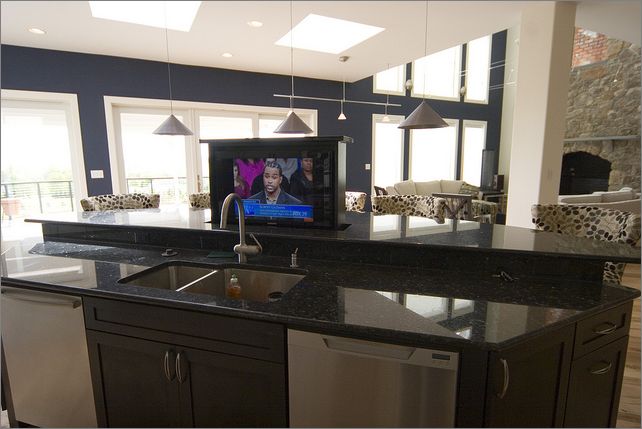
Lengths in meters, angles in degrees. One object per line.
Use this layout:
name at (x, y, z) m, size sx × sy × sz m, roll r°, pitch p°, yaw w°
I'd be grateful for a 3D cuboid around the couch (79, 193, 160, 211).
couch at (-2.402, -0.151, 5.530) m, size 0.842 × 0.168 × 0.306 m, roll -4°, pitch 6°, yaw -28°

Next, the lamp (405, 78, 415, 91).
lamp at (1.642, -2.480, 8.768) m, size 0.156 × 0.207 × 0.209 m, roll -2°, pitch 5°, yaw -9°

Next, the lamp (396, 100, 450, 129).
lamp at (1.087, -1.076, 4.974) m, size 0.462 × 0.267 × 0.528 m, roll -2°, pitch 6°, yaw -11°

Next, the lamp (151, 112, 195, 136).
lamp at (-1.692, -0.977, 5.401) m, size 0.453 × 0.225 × 0.444 m, roll 0°, pitch 1°, yaw 0°

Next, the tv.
tv at (-0.320, -0.250, 4.133) m, size 1.063 × 0.693 × 0.553 m, roll 3°, pitch 7°, yaw 20°

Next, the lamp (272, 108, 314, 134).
lamp at (-0.309, -1.072, 5.387) m, size 0.415 × 0.231 × 0.407 m, roll 0°, pitch 1°, yaw 7°

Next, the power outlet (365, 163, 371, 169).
power outlet at (0.875, -0.917, 8.750) m, size 0.107 × 0.103 × 0.010 m, roll -3°, pitch 12°, yaw -6°

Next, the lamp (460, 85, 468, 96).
lamp at (2.859, -2.529, 9.284) m, size 0.172 × 0.231 × 0.079 m, roll 3°, pitch -1°, yaw -8°
